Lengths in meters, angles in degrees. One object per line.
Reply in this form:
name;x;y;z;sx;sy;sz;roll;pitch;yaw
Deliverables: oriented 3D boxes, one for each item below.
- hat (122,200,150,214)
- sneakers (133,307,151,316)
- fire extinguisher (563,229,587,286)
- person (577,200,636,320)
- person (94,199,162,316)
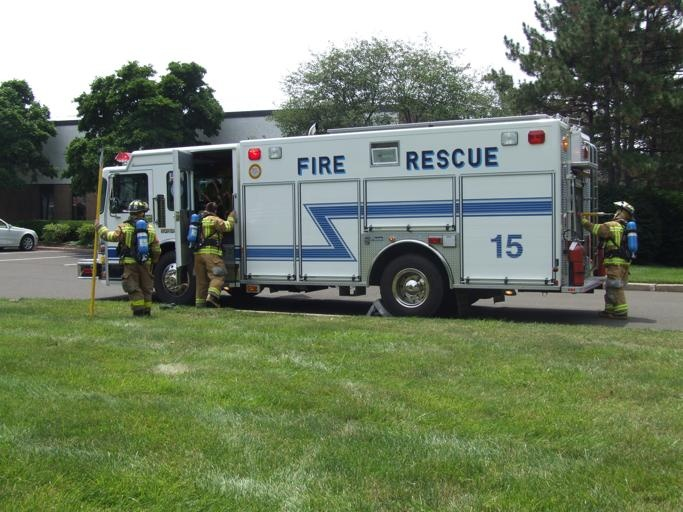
hat;-3.589;-0.862;13.026;0.351;0.268;0.478;1;-1;13
sneakers;-3.216;0.900;11.950;0.284;0.160;0.236;-3;8;-24
fire extinguisher;3.708;0.123;11.804;0.277;0.692;0.222;7;9;43
person;4.590;0.099;12.730;0.799;1.998;1.066;3;8;21
person;-3.391;0.062;11.995;0.860;1.875;0.630;-2;7;-17
